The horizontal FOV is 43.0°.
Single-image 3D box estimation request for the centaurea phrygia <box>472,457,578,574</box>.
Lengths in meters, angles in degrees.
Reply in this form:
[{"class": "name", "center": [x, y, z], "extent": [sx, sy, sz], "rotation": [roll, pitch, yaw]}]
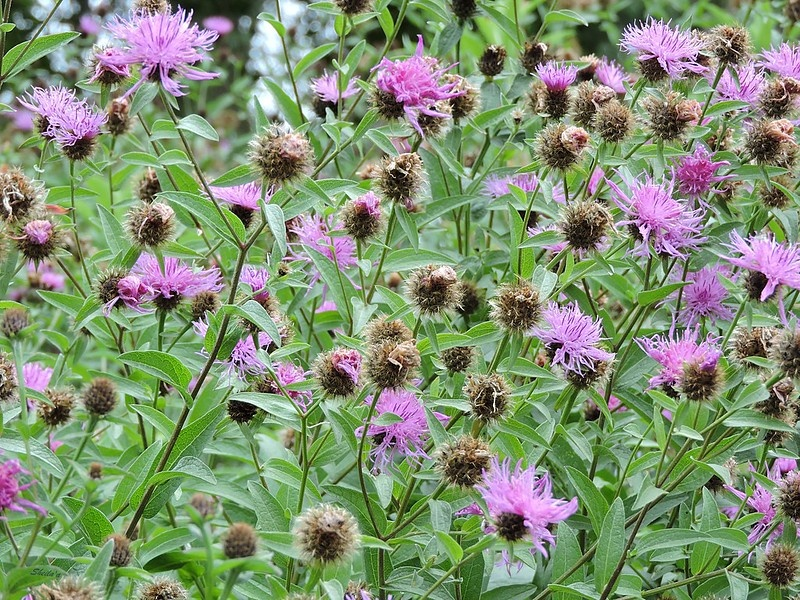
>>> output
[{"class": "centaurea phrygia", "center": [0.319, 0.591, 3.024], "extent": [0.267, 0.307, 0.220], "rotation": [-3, 92, 6]}]
